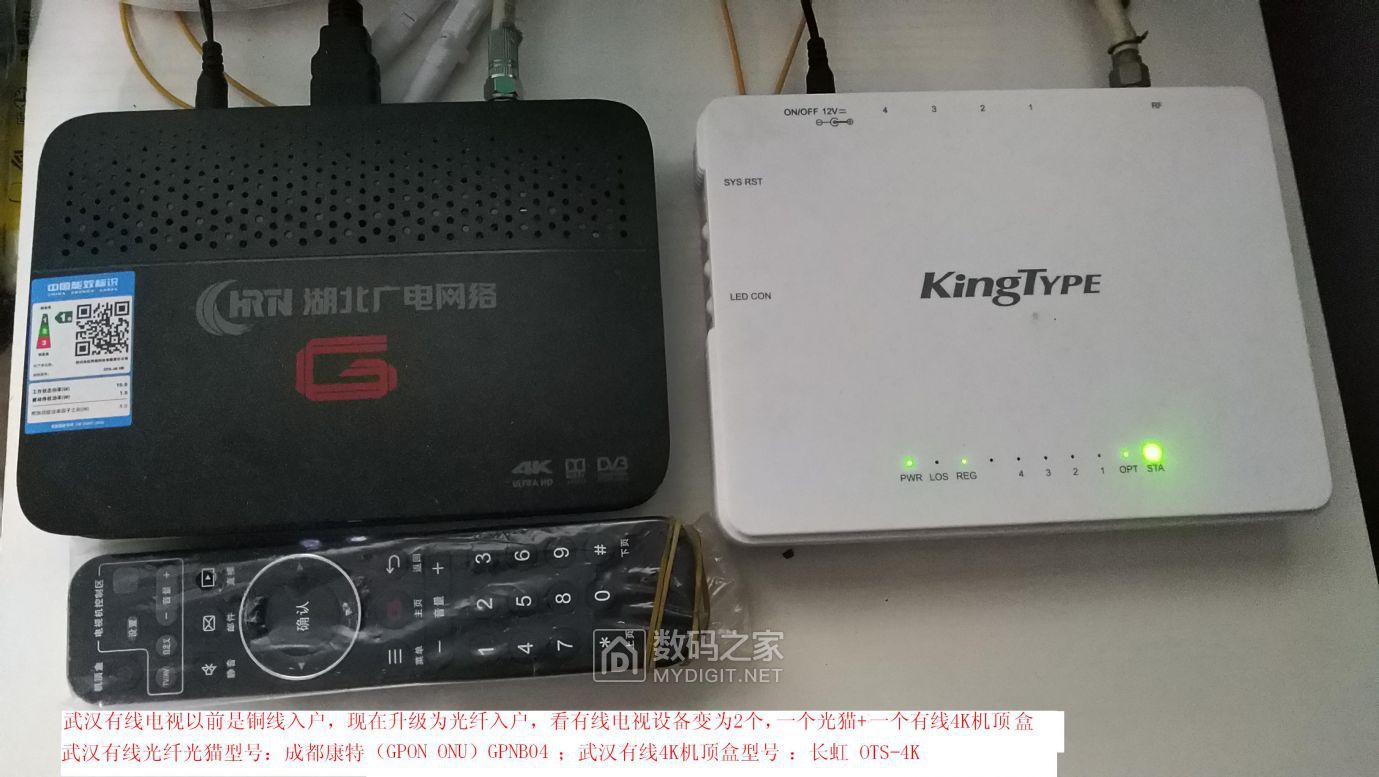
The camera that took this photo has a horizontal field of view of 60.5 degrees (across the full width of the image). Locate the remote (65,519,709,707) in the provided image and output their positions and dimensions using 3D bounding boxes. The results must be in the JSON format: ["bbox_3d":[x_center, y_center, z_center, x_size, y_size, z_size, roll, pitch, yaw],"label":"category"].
[{"bbox_3d":[-0.278,0.203,1.080,0.565,0.131,0.119,0,55,-8],"label":"remote"}]

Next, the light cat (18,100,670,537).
[{"bbox_3d":[-0.331,-0.062,1.102,0.615,0.138,0.397,-3,87,-3],"label":"light cat"}]
